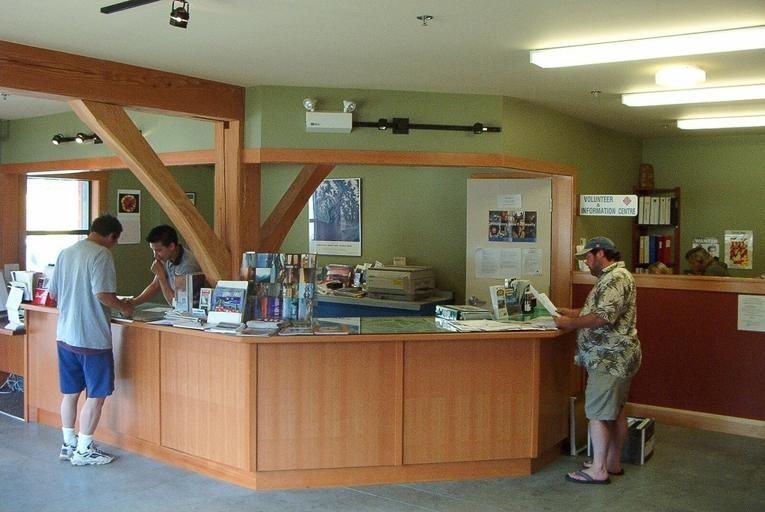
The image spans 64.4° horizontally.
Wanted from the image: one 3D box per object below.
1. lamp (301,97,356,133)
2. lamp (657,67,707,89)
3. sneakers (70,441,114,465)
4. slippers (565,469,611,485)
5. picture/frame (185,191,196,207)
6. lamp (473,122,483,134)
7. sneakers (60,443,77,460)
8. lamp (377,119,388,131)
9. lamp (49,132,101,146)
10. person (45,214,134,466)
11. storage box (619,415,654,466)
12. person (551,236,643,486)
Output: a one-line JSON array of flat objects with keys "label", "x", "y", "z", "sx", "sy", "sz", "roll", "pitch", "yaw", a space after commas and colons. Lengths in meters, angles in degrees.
[{"label": "lamp", "x": -0.540, "y": -1.480, "z": 6.376, "sx": 0.571, "sy": 0.295, "sz": 0.173, "roll": 6, "pitch": 20, "yaw": 15}, {"label": "lamp", "x": 2.845, "y": -1.713, "z": 5.796, "sx": 0.276, "sy": 0.058, "sz": 0.276, "roll": -4, "pitch": 7, "yaw": -17}, {"label": "sneakers", "x": -2.737, "y": 1.878, "z": 5.806, "sx": 0.466, "sy": 0.188, "sz": 0.165, "roll": 0, "pitch": 4, "yaw": -19}, {"label": "slippers", "x": 1.863, "y": 1.972, "z": 5.511, "sx": 0.310, "sy": 0.072, "sz": 0.146, "roll": 1, "pitch": -1, "yaw": 18}, {"label": "picture/frame", "x": -3.214, "y": -0.960, "z": 10.154, "sx": 0.149, "sy": 0.207, "sz": 0.269, "roll": 0, "pitch": 11, "yaw": -4}, {"label": "lamp", "x": 1.022, "y": -1.361, "z": 6.498, "sx": 0.148, "sy": 0.121, "sz": 0.069, "roll": 0, "pitch": -1, "yaw": -5}, {"label": "sneakers", "x": -3.011, "y": 1.857, "z": 5.804, "sx": 0.094, "sy": 0.089, "sz": 0.216, "roll": 3, "pitch": 3, "yaw": -14}, {"label": "lamp", "x": 0.004, "y": -1.381, "z": 6.414, "sx": 0.105, "sy": 0.125, "sz": 0.042, "roll": -3, "pitch": 12, "yaw": -20}, {"label": "lamp", "x": -3.939, "y": -1.497, "z": 7.754, "sx": 0.836, "sy": 0.156, "sz": 0.290, "roll": 9, "pitch": 13, "yaw": 38}, {"label": "person", "x": -2.758, "y": 0.788, "z": 5.782, "sx": 0.729, "sy": 2.267, "sz": 0.695, "roll": -5, "pitch": 13, "yaw": -26}, {"label": "storage box", "x": 2.438, "y": 1.784, "z": 5.835, "sx": 0.365, "sy": 0.402, "sz": 0.615, "roll": 1, "pitch": 1, "yaw": 28}, {"label": "person", "x": 1.974, "y": 0.945, "z": 5.586, "sx": 0.671, "sy": 2.158, "sz": 0.674, "roll": -1, "pitch": 12, "yaw": -10}]
